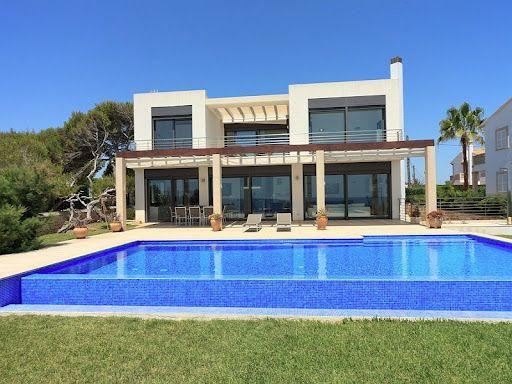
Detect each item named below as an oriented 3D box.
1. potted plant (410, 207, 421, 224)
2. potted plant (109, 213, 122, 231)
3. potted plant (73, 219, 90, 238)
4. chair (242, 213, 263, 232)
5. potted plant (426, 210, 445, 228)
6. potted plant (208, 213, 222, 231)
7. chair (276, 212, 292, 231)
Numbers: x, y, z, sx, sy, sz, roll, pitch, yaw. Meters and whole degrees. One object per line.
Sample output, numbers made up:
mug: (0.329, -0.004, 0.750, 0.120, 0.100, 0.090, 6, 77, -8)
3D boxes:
potted plant: (8.495, 1.261, 24.603, 0.619, 1.205, 0.655, 0, -3, 2)
potted plant: (-6.953, 1.534, 23.096, 0.667, 1.274, 0.770, 0, -8, -2)
potted plant: (-7.635, 1.640, 20.155, 0.682, 0.969, 0.737, -7, -10, 36)
chair: (-0.183, 1.649, 22.742, 0.907, 0.639, 2.052, -1, 15, 3)
potted plant: (8.653, 1.317, 22.339, 0.636, 0.873, 0.772, 1, -9, -2)
potted plant: (-1.953, 1.498, 22.663, 0.600, 1.005, 0.685, -1, -5, -6)
chair: (1.365, 1.448, 22.608, 0.465, 0.649, 0.880, -1, -7, 5)
